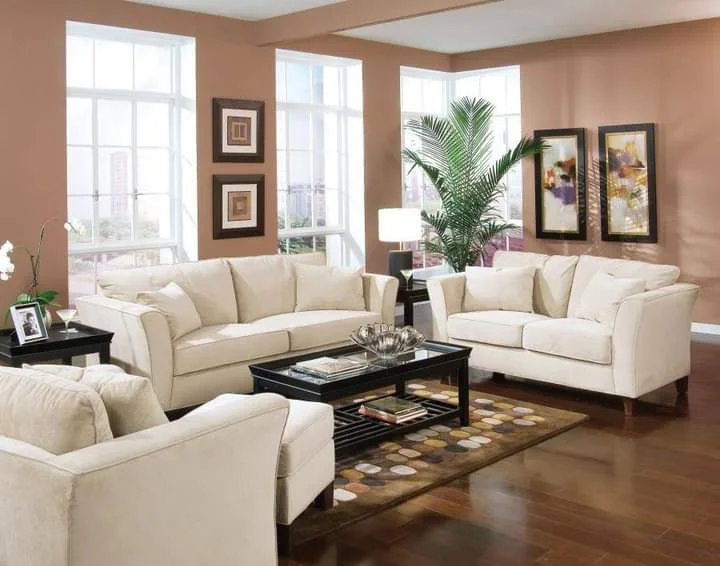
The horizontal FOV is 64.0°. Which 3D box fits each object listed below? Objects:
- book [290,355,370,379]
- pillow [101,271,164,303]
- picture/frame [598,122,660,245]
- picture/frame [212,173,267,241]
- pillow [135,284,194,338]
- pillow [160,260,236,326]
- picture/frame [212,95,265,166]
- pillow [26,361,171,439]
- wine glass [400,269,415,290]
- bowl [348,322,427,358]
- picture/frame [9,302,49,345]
[{"bbox_3d":[-0.146,0.490,3.468,0.499,0.038,0.394,-6,10,-37],"label":"book"},{"bbox_3d":[-1.680,0.012,4.166,0.302,0.082,0.294,14,21,20],"label":"pillow"},{"bbox_3d":[3.056,-1.119,6.504,0.694,1.294,0.083,8,12,43],"label":"picture/frame"},{"bbox_3d":[-1.191,-0.773,5.803,0.765,0.683,0.077,3,5,31],"label":"picture/frame"},{"bbox_3d":[-1.372,0.194,4.159,0.293,0.357,0.448,2,9,14],"label":"pillow"},{"bbox_3d":[-1.303,0.103,4.616,0.203,0.465,0.525,-22,-9,40],"label":"pillow"},{"bbox_3d":[-1.213,-1.516,5.740,0.048,0.557,0.626,13,17,35],"label":"picture/frame"},{"bbox_3d":[-0.794,0.345,1.856,0.313,0.102,0.300,9,-1,-41],"label":"pillow"},{"bbox_3d":[0.504,-0.028,5.612,0.178,0.217,0.175,0,0,-42],"label":"wine glass"},{"bbox_3d":[0.144,0.354,3.620,0.314,0.106,0.278,0,-1,-30],"label":"bowl"},{"bbox_3d":[-2.138,0.253,3.658,0.063,0.244,0.264,-23,-8,26],"label":"picture/frame"}]
